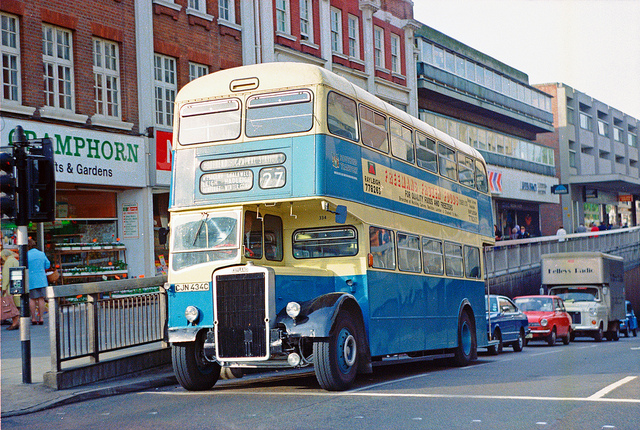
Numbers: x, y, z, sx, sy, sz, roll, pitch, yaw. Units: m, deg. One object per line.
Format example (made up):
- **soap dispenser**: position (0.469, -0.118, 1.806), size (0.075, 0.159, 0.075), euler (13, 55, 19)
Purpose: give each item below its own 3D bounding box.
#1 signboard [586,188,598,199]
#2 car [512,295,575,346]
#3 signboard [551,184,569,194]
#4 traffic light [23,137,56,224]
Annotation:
- **signboard**: position (23.761, -1.866, 72.016), size (0.899, 0.932, 0.224), euler (0, -18, -17)
- **car**: position (8.763, 4.101, 33.016), size (2.259, 1.767, 4.105), euler (-3, -3, 28)
- **signboard**: position (17.571, -1.856, 60.477), size (0.999, 0.520, 1.105), euler (-3, 4, 1)
- **traffic light**: position (-5.857, -0.732, 17.238), size (0.774, 1.388, 0.358), euler (10, -6, -22)
